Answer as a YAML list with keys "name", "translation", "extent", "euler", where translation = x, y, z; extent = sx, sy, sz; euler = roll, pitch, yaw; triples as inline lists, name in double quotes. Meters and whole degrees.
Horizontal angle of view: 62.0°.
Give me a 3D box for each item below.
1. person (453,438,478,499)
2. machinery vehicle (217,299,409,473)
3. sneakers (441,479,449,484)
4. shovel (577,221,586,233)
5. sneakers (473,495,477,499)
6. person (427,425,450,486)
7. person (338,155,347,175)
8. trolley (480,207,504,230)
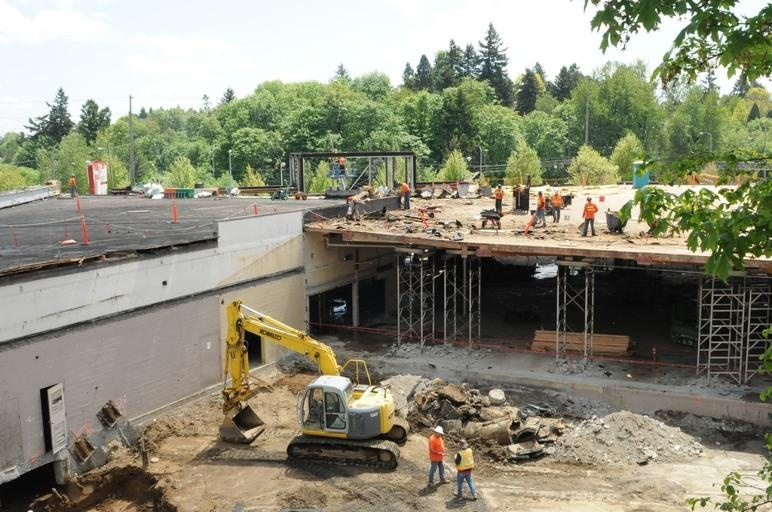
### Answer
- name: "person"
  translation: [2.768, 7.143, 21.861]
  extent: [0.790, 2.221, 1.149]
  euler: [2, 6, 8]
- name: "machinery vehicle"
  translation: [-2.898, 4.836, 24.972]
  extent: [7.395, 4.896, 3.250]
  euler: [3, 7, 12]
- name: "sneakers"
  translation: [2.075, 7.934, 22.600]
  extent: [0.296, 0.196, 0.111]
  euler: [-11, 19, -10]
- name: "shovel"
  translation: [10.889, -1.558, 35.784]
  extent: [0.229, 0.728, 0.758]
  euler: [-8, 12, -2]
- name: "sneakers"
  translation: [3.050, 8.191, 21.828]
  extent: [0.099, 0.118, 0.159]
  euler: [-17, -1, -42]
- name: "person"
  translation: [1.807, 6.921, 22.470]
  extent: [0.607, 2.132, 0.945]
  euler: [2, 6, 11]
- name: "person"
  translation: [-3.466, -6.884, 50.573]
  extent: [0.550, 1.227, 1.492]
  euler: [0, 6, -7]
- name: "trolley"
  translation: [6.207, -2.292, 37.974]
  extent: [1.575, 1.115, 1.427]
  euler: [2, 1, 21]
